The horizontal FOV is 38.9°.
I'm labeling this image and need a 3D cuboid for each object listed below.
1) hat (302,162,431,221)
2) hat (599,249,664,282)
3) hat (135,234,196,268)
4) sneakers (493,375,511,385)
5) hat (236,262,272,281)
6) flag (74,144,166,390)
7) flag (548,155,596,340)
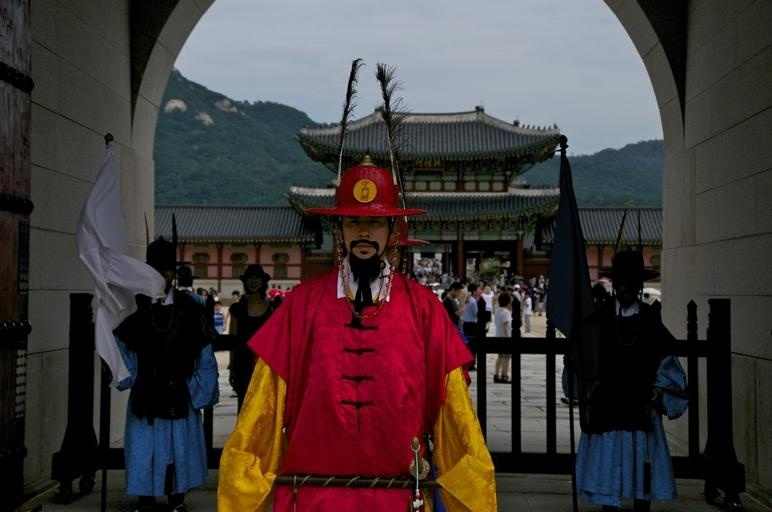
[{"bbox_3d":[-0.127,-0.517,8.422,0.917,0.427,0.956,4,6,14],"label":"hat"},{"bbox_3d":[2.124,0.078,9.603,0.489,0.218,0.513,-3,3,-36],"label":"hat"},{"bbox_3d":[-2.924,-0.091,14.700,0.879,0.513,0.901,-1,4,-11],"label":"hat"},{"bbox_3d":[1.555,1.657,14.622,0.223,0.099,0.085,-1,-4,10],"label":"sneakers"},{"bbox_3d":[-2.264,0.257,18.921,0.594,0.276,0.698,0,-8,-1],"label":"hat"},{"bbox_3d":[-2.305,0.081,9.454,0.669,2.046,0.331,5,-9,-38],"label":"flag"},{"bbox_3d":[1.526,-0.045,9.145,0.344,1.726,0.245,-8,32,2],"label":"flag"}]
